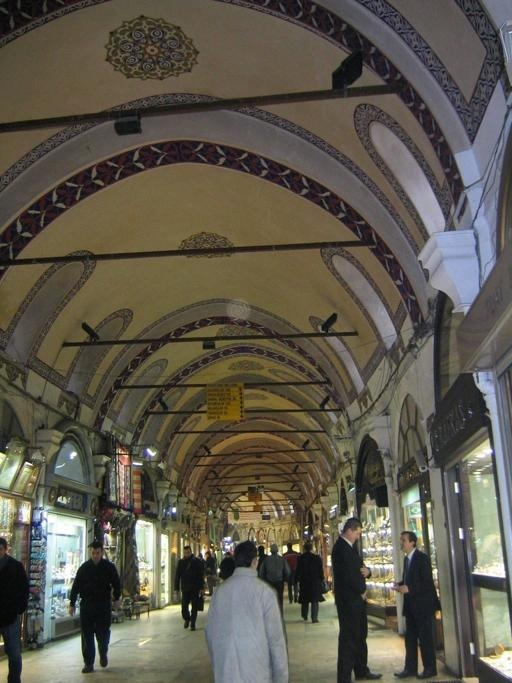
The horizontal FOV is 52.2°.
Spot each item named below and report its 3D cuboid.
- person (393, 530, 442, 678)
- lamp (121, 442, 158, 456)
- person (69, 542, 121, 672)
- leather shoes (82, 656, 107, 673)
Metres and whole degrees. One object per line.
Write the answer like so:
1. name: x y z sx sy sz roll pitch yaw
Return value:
1. person: 1.550 2.571 5.145 0.437 1.289 0.479 4 -22 -17
2. lamp: -3.778 3.574 17.205 0.811 0.377 1.021 2 -19 -2
3. person: -2.038 3.286 6.535 0.592 1.447 0.586 5 -23 -18
4. leather shoes: -1.952 3.916 6.325 0.222 0.116 0.476 -10 -23 18
